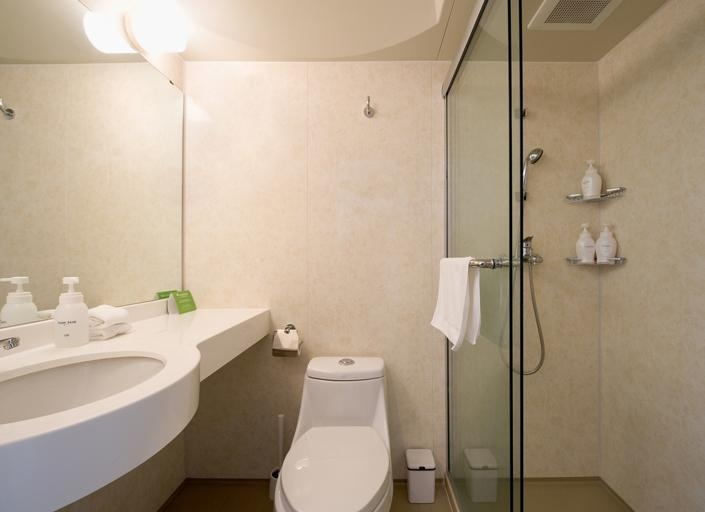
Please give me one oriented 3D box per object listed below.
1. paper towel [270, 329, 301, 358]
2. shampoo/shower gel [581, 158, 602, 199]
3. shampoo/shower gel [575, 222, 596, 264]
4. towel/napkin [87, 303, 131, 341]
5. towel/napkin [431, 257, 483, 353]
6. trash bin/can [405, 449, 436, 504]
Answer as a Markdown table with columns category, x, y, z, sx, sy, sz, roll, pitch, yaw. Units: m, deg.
| category | x | y | z | sx | sy | sz | roll | pitch | yaw |
| --- | --- | --- | --- | --- | --- | --- | --- | --- | --- |
| paper towel | -0.362 | 0.481 | 3.027 | 0.128 | 0.130 | 0.138 | 0 | -2 | -1 |
| shampoo/shower gel | 1.262 | -0.396 | 2.890 | 0.104 | 0.207 | 0.071 | 1 | 2 | 26 |
| shampoo/shower gel | 1.234 | -0.061 | 2.890 | 0.105 | 0.204 | 0.071 | 0 | 2 | -17 |
| towel/napkin | -1.086 | 0.295 | 2.464 | 0.170 | 0.140 | 0.101 | -1 | 2 | -27 |
| towel/napkin | 0.517 | 0.237 | 2.673 | 0.152 | 0.460 | 0.441 | 3 | -8 | -7 |
| trash bin/can | 0.375 | 1.200 | 3.018 | 0.157 | 0.253 | 0.149 | 0 | 2 | 2 |
